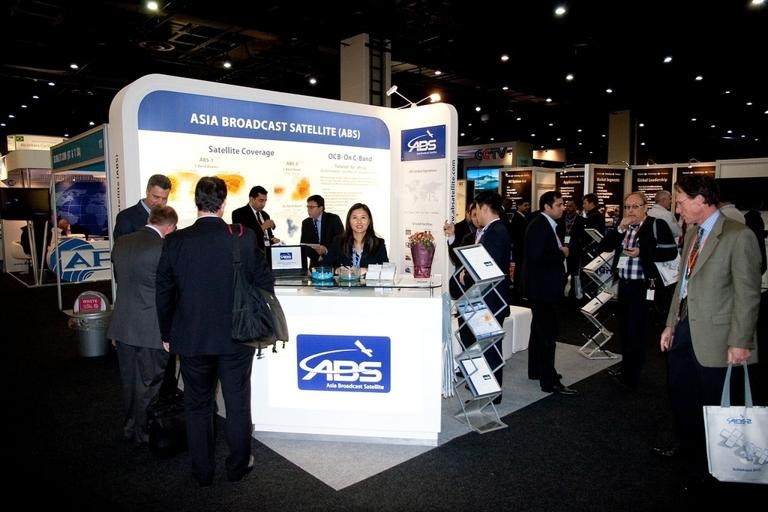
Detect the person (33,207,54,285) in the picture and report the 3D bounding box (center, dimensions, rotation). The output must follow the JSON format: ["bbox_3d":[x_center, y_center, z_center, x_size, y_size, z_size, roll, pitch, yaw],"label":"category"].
[{"bbox_3d":[-6.931,-0.149,10.934,0.373,1.449,1.198,-7,9,-39],"label":"person"}]

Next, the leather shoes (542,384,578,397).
[{"bbox_3d":[1.814,1.394,5.654,0.406,0.165,0.135,-9,-9,25],"label":"leather shoes"}]

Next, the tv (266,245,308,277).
[{"bbox_3d":[-0.912,0.041,5.079,0.356,0.275,0.330,-4,1,-4],"label":"tv"}]

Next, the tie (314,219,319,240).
[{"bbox_3d":[-0.890,-0.342,7.126,0.043,0.290,0.029,-4,-4,1],"label":"tie"}]

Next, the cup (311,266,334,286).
[{"bbox_3d":[-0.556,0.183,4.880,0.180,0.127,0.179,1,-1,0],"label":"cup"}]

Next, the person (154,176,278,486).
[{"bbox_3d":[-1.326,0.605,4.179,0.845,2.412,0.305,0,7,6],"label":"person"}]

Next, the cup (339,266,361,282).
[{"bbox_3d":[-0.321,0.162,4.952,0.208,0.115,0.166,-1,7,-5],"label":"cup"}]

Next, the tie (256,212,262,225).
[{"bbox_3d":[-1.571,-0.475,6.749,0.041,0.046,0.182,11,46,-25],"label":"tie"}]
